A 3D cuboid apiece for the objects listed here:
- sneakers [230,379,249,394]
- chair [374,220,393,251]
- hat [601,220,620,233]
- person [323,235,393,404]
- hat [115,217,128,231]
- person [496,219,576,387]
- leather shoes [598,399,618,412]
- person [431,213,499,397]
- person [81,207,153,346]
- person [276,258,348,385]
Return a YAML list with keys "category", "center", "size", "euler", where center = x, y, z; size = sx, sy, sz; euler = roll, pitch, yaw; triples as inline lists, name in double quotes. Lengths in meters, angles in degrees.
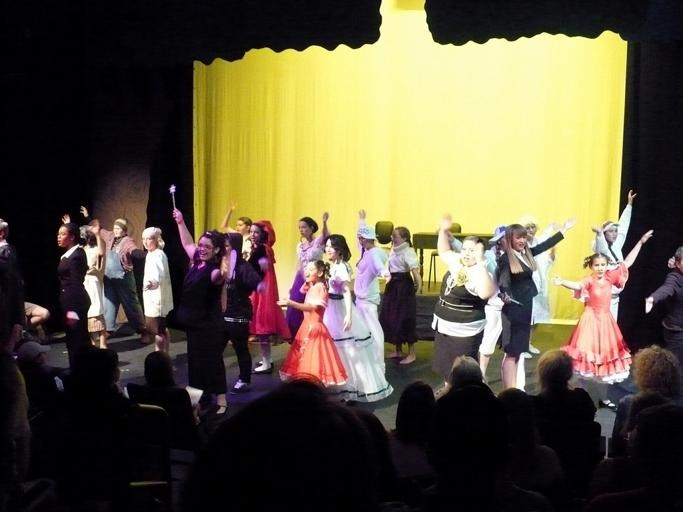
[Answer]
- category: "sneakers"
  center: [-0.988, 1.270, 5.743]
  size: [0.076, 0.102, 0.221]
  euler: [-4, -10, 30]
- category: "chair"
  center: [0.507, -0.270, 7.316]
  size: [0.248, 0.396, 0.236]
  euler: [1, -3, -2]
- category: "hat"
  center: [2.844, -0.319, 6.278]
  size: [0.108, 0.124, 0.148]
  euler: [-4, -21, 28]
- category: "person"
  center: [0.082, 0.497, 5.466]
  size: [0.616, 1.442, 0.773]
  euler: [-6, 7, -17]
- category: "hat"
  center: [-2.636, -0.367, 7.099]
  size: [0.103, 0.141, 0.245]
  euler: [-1, 9, -11]
- category: "person"
  center: [1.874, 0.476, 5.760]
  size: [0.612, 2.169, 1.335]
  euler: [2, 10, 32]
- category: "leather shoes"
  center: [2.403, 1.351, 5.361]
  size: [0.135, 0.061, 0.078]
  euler: [-1, 1, 34]
- category: "person"
  center: [0.984, 0.370, 4.780]
  size: [0.472, 1.311, 0.794]
  euler: [1, 9, 7]
- category: "person"
  center: [-2.670, 0.273, 6.989]
  size: [1.235, 1.836, 0.462]
  euler: [10, 11, 31]
- category: "person"
  center: [-0.249, 0.594, 5.264]
  size: [0.711, 1.212, 0.991]
  euler: [5, -8, -23]
